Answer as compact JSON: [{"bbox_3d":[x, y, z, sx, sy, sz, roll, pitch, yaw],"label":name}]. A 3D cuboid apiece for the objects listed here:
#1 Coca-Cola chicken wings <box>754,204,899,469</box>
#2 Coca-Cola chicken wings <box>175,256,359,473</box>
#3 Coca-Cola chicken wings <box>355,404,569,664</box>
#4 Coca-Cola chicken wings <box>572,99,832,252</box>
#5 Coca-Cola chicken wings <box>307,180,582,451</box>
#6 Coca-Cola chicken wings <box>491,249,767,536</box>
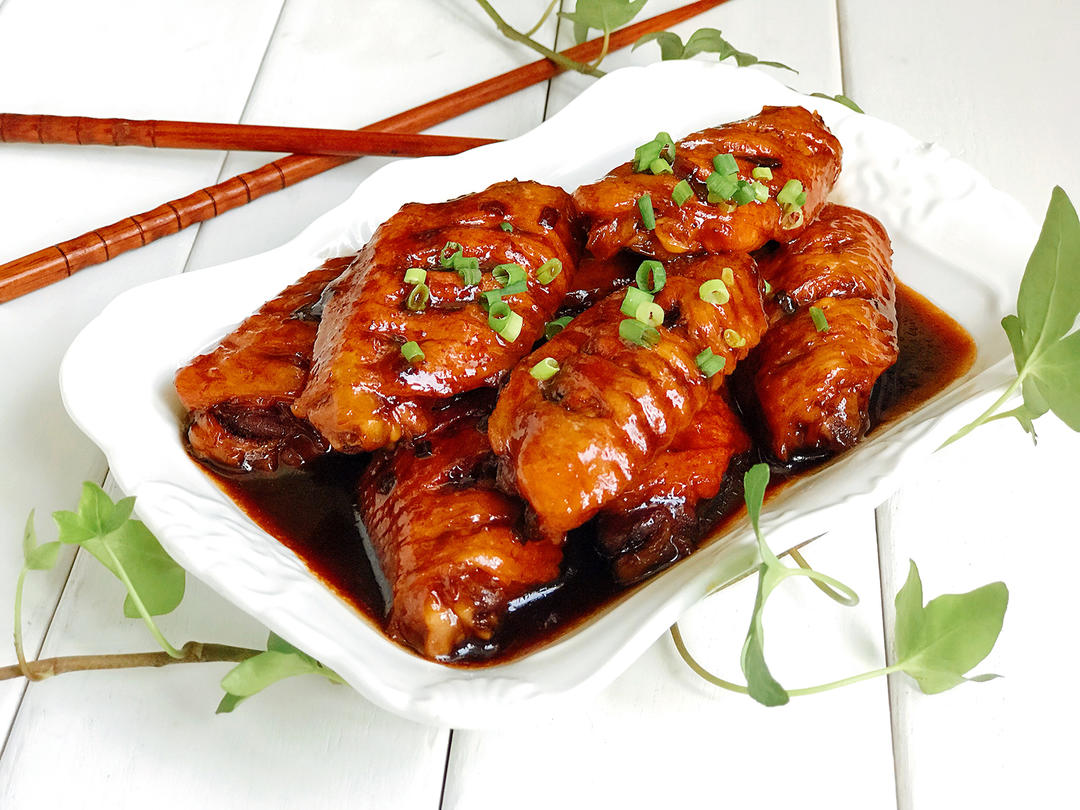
[{"bbox_3d":[0.839,-0.259,3.386,0.493,0.273,0.851,5,52,12],"label":"Coca-Cola chicken wings"},{"bbox_3d":[-0.763,-0.109,3.193,0.369,0.166,0.561,34,70,17],"label":"Coca-Cola chicken wings"},{"bbox_3d":[-0.212,0.274,3.064,0.549,0.204,0.673,-15,52,-8],"label":"Coca-Cola chicken wings"},{"bbox_3d":[0.522,-0.662,3.339,0.722,0.257,0.408,-26,50,-16],"label":"Coca-Cola chicken wings"},{"bbox_3d":[-0.289,-0.216,3.251,0.838,0.245,0.557,-40,75,-22],"label":"Coca-Cola chicken wings"},{"bbox_3d":[0.256,-0.044,3.023,0.837,0.604,0.350,-23,24,-34],"label":"Coca-Cola chicken wings"}]
